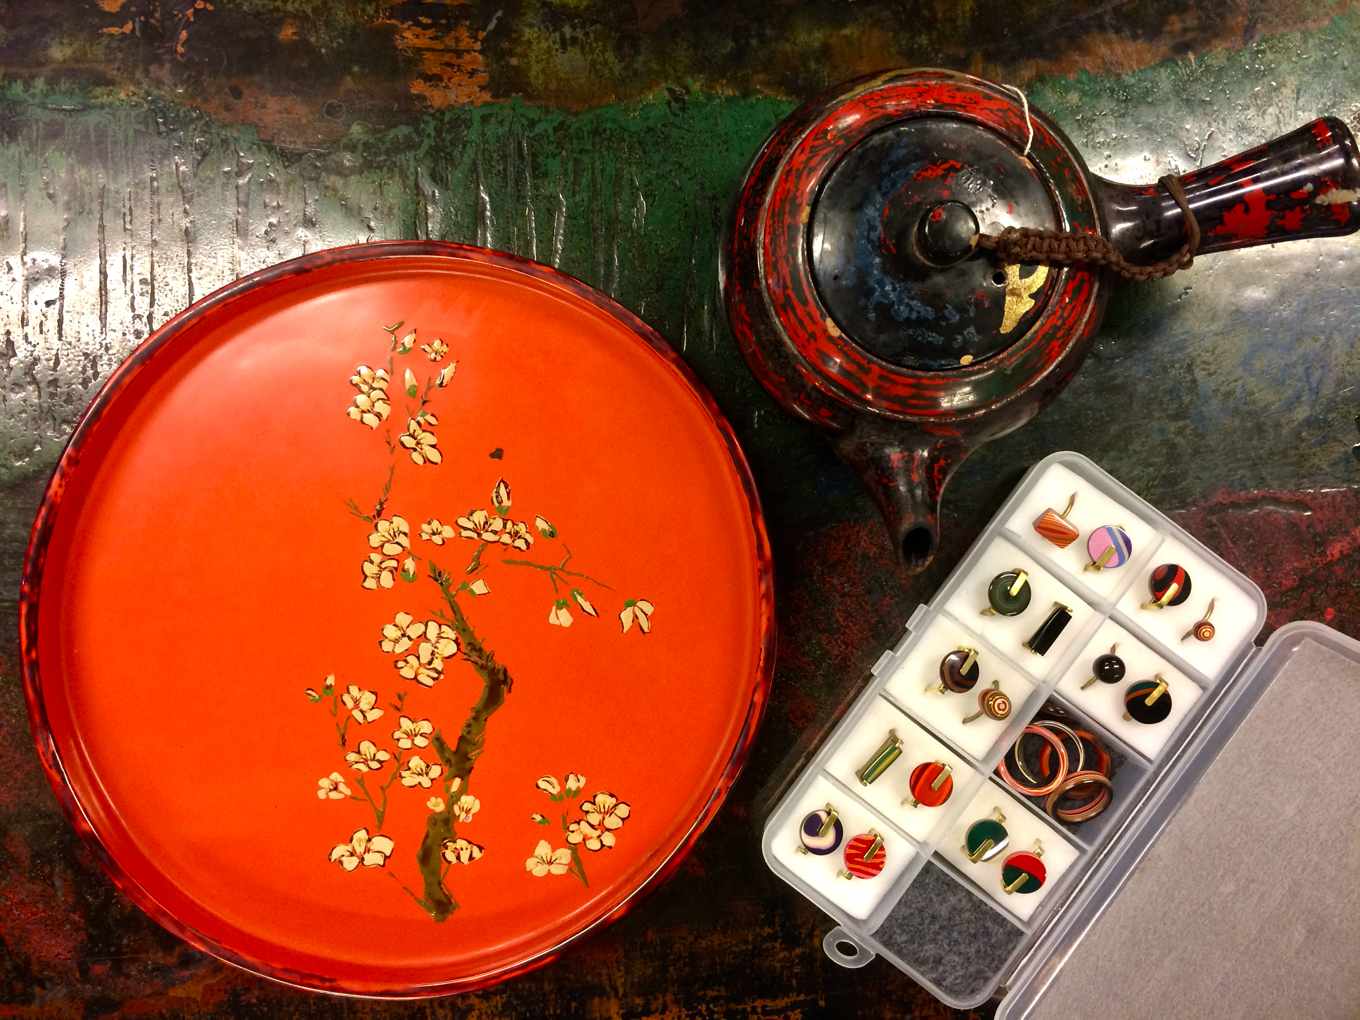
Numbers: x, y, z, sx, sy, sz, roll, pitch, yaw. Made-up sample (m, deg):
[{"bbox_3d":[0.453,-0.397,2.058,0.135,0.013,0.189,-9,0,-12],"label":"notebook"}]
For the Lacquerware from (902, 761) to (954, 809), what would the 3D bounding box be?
[{"bbox_3d":[0.448,0.498,2.749,0.068,0.029,0.084,37,90,-7],"label":"Lacquerware"}]

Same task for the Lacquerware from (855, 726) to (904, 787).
[{"bbox_3d":[0.357,0.445,2.752,0.059,0.029,0.109,45,107,15],"label":"Lacquerware"}]

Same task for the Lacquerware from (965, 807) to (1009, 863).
[{"bbox_3d":[0.560,0.601,2.788,0.095,0.048,0.077,-28,85,-7],"label":"Lacquerware"}]

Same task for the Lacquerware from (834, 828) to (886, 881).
[{"bbox_3d":[0.334,0.628,2.770,0.081,0.047,0.087,1,82,-3],"label":"Lacquerware"}]

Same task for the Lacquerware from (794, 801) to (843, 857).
[{"bbox_3d":[0.254,0.584,2.773,0.080,0.033,0.088,-2,83,-4],"label":"Lacquerware"}]
